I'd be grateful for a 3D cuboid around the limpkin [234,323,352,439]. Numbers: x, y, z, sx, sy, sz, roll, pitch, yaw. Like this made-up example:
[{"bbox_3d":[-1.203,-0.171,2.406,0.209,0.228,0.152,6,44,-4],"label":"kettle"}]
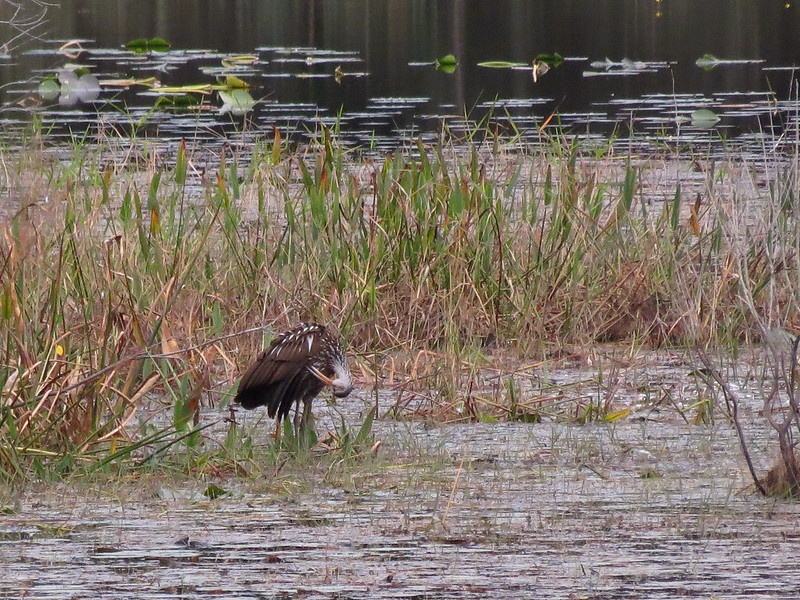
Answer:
[{"bbox_3d":[-0.513,0.402,6.561,0.570,0.553,0.327,-2,-12,16],"label":"limpkin"}]
